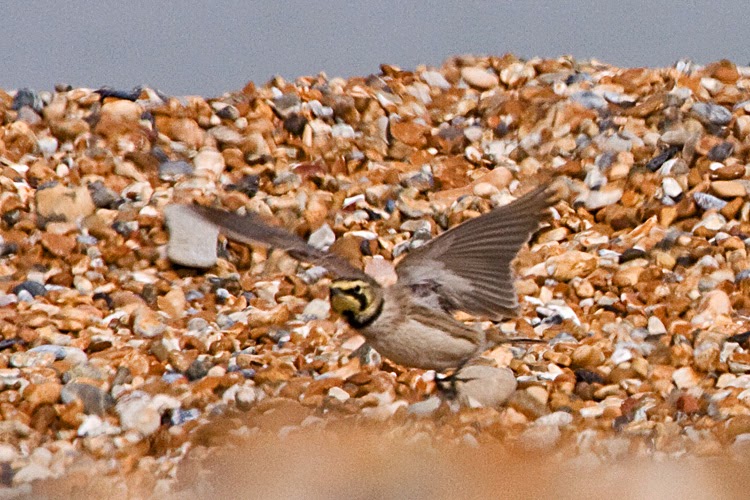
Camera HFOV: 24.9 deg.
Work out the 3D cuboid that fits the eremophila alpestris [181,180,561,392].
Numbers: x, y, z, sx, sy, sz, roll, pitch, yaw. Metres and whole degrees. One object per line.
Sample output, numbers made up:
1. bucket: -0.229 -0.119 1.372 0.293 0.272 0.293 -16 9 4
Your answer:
1. eremophila alpestris: 0.181 0.205 8.105 1.983 0.927 1.300 -3 4 39
